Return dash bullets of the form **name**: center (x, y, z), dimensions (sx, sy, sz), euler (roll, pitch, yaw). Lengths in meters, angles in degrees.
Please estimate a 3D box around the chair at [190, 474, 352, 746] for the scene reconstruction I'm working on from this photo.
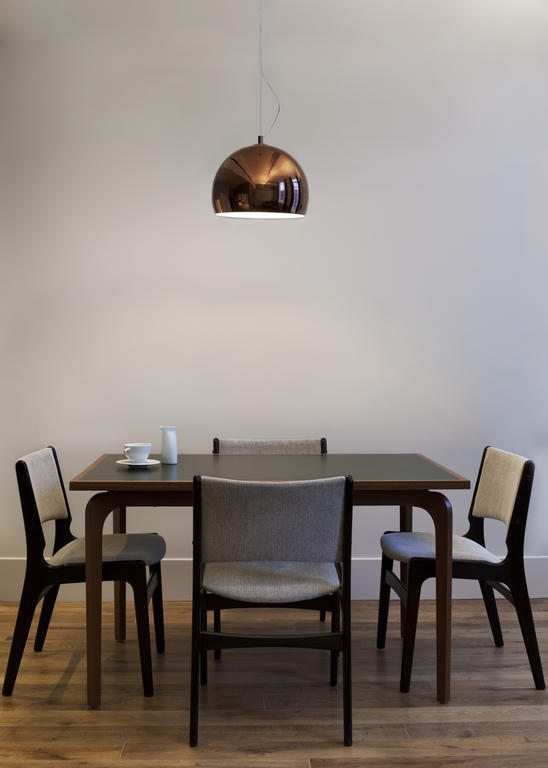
- **chair**: center (0.007, 0.605, 2.305), dimensions (0.493, 0.748, 0.388), euler (0, 4, -4)

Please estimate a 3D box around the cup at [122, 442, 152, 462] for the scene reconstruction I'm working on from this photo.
- **cup**: center (-0.463, 0.221, 2.716), dimensions (0.074, 0.057, 0.085), euler (0, 4, 4)
